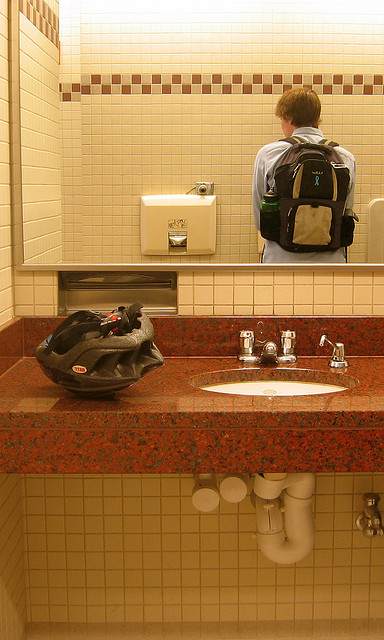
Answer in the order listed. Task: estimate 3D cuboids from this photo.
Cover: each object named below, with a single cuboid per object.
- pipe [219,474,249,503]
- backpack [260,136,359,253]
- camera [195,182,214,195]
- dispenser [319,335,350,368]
[{"bbox_3d":[0.094,0.378,1.337,0.055,0.058,0.084,0,9,0],"label":"pipe"},{"bbox_3d":[0.317,-0.336,1.551,0.271,0.288,0.158,3,25,7],"label":"backpack"},{"bbox_3d":[0.035,-0.342,1.509,0.050,0.040,0.028,1,5,4],"label":"camera"},{"bbox_3d":[0.350,0.080,1.402,0.079,0.080,0.059,2,3,-9],"label":"dispenser"}]
